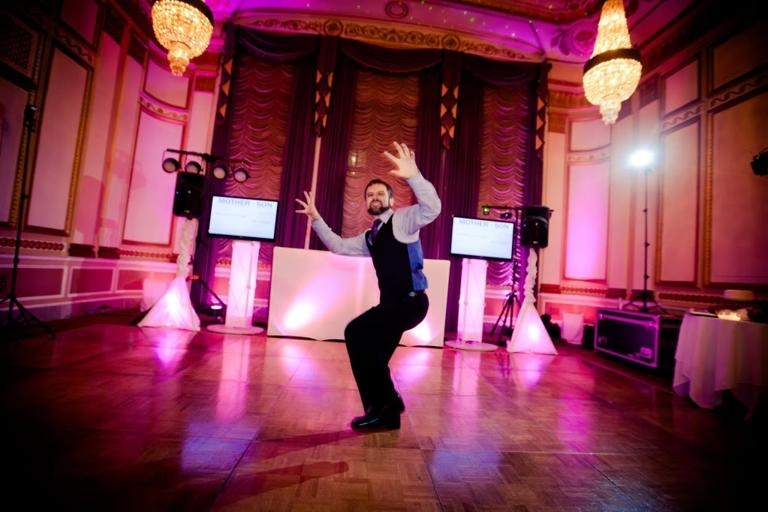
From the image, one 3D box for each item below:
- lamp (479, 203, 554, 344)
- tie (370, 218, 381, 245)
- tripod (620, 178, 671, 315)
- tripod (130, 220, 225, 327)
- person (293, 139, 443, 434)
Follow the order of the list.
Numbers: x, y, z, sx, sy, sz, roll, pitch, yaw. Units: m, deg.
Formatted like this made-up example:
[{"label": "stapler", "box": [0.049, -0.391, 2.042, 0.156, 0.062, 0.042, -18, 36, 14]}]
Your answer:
[{"label": "lamp", "box": [2.265, 0.329, 8.862, 1.274, 2.496, 0.915, 5, 5, 2]}, {"label": "tie", "box": [-0.091, -0.284, 5.443, 0.055, 0.226, 0.168, 19, -33, 6]}, {"label": "tripod", "box": [4.588, -0.316, 8.560, 0.619, 2.429, 0.849, 4, 0, 24]}, {"label": "tripod", "box": [-3.317, 0.432, 8.855, 1.527, 2.305, 1.289, 7, -3, 42]}, {"label": "person", "box": [0.066, 0.357, 5.328, 0.866, 3.065, 0.456, 4, 0, -4]}]
